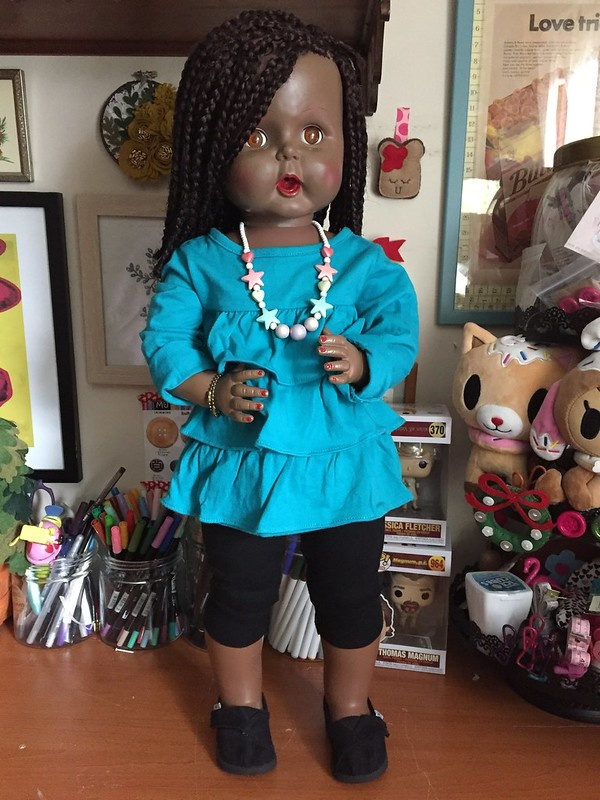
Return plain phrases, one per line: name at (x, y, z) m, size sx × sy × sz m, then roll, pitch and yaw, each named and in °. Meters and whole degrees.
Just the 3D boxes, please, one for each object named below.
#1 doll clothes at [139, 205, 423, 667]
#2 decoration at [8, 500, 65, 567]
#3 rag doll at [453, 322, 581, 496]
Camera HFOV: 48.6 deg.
doll clothes at (-0.029, -0.023, 0.805) m, size 0.330 × 0.369 × 0.206 m, roll 3°, pitch 12°, yaw 9°
decoration at (-0.409, 0.220, 1.071) m, size 0.064 × 0.081 × 0.097 m, roll 7°, pitch 13°, yaw 29°
rag doll at (0.322, 0.022, 0.993) m, size 0.211 × 0.246 × 0.178 m, roll 14°, pitch 14°, yaw 25°
